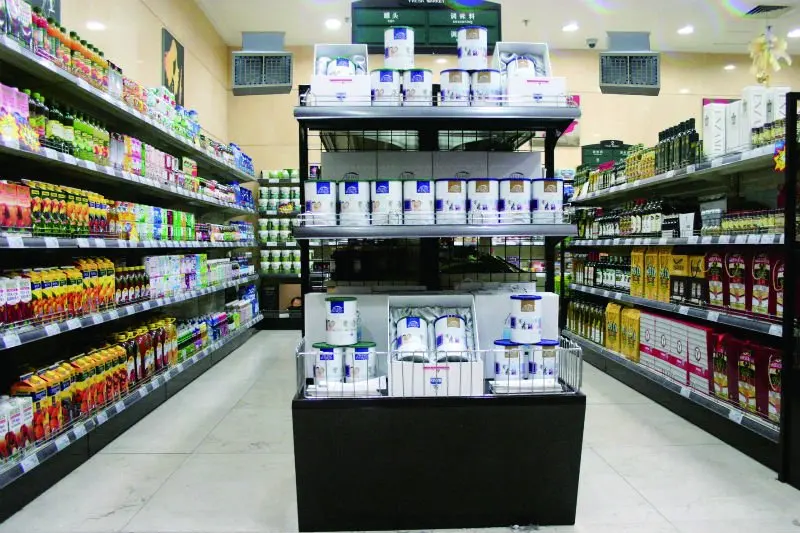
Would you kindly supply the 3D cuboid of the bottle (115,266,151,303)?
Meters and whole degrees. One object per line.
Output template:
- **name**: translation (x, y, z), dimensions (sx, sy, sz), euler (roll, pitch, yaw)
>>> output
- **bottle**: translation (-2.349, 0.165, 5.212), dimensions (0.105, 0.295, 0.320), euler (0, 3, -2)

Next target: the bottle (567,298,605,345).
- **bottle**: translation (2.134, 0.644, 6.792), dimensions (0.159, 0.443, 0.475), euler (-2, 8, -13)
